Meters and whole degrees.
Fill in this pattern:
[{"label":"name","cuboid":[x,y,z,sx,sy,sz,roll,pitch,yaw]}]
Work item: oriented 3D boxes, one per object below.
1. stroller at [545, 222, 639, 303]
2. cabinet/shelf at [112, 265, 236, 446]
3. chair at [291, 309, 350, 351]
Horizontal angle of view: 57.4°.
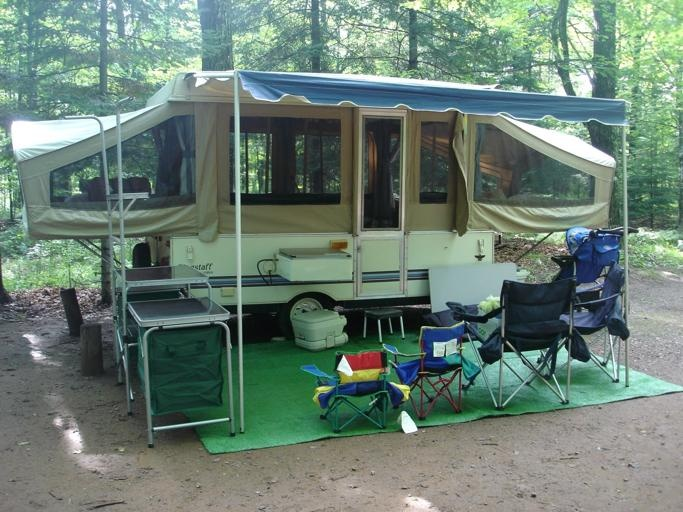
[{"label":"stroller","cuboid":[2.923,0.088,7.301,1.355,0.986,0.938,1,4,15]},{"label":"cabinet/shelf","cuboid":[-1.652,0.829,6.151,1.027,1.449,1.713,-5,14,-19]},{"label":"chair","cuboid":[-0.254,0.937,8.079,0.695,0.368,0.468,-1,2,-42]}]
